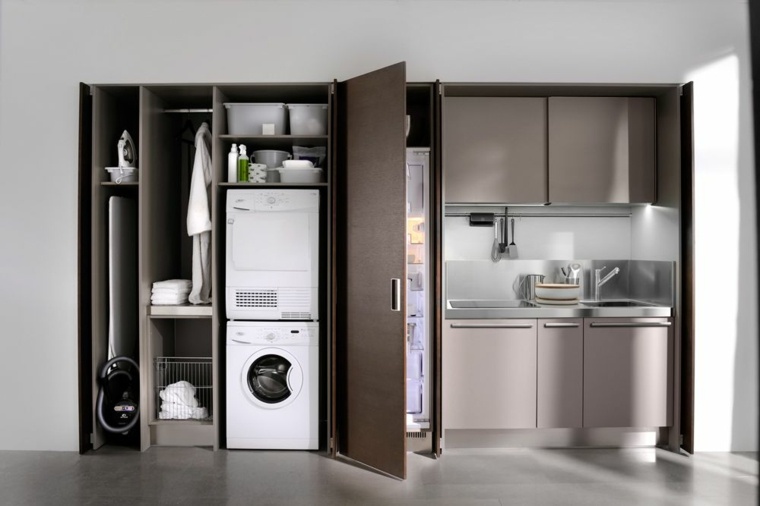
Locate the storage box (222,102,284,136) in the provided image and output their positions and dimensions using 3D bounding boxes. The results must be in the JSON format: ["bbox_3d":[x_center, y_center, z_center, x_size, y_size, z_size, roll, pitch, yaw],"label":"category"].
[{"bbox_3d":[-1.108,-1.171,6.412,0.462,0.204,0.296,-1,1,-4],"label":"storage box"}]

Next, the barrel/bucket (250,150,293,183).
[{"bbox_3d":[-0.965,-0.802,6.502,0.345,0.237,0.293,1,-10,-15],"label":"barrel/bucket"}]

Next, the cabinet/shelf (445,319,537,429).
[{"bbox_3d":[0.920,1.051,6.314,0.999,1.041,0.602,0,-3,-1],"label":"cabinet/shelf"}]

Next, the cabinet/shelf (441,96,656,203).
[{"bbox_3d":[1.420,-0.936,6.743,2.099,0.938,0.607,-2,5,-13],"label":"cabinet/shelf"}]

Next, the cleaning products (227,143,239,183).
[{"bbox_3d":[-1.294,-0.791,6.410,0.086,0.348,0.083,0,0,-14],"label":"cleaning products"}]

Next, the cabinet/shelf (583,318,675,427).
[{"bbox_3d":[2.315,1.148,6.601,0.781,1.015,0.694,-2,-30,24],"label":"cabinet/shelf"}]
